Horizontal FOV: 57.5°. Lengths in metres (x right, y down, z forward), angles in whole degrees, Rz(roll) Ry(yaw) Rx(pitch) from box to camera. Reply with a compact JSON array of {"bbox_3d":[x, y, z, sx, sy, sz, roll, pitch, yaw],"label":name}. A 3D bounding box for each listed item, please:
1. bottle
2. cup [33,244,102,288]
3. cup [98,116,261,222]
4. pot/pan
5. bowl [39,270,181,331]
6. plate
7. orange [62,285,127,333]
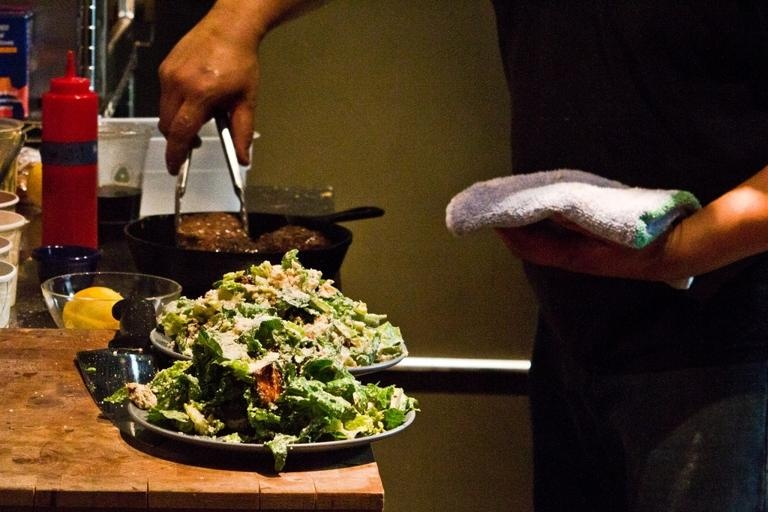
[{"bbox_3d":[-0.606,-0.179,1.342,0.097,0.318,0.082,0,21,-22],"label":"bottle"},{"bbox_3d":[-0.591,0.012,1.306,0.090,0.057,0.086,1,3,0],"label":"cup"},{"bbox_3d":[-0.475,-0.203,1.830,0.447,0.264,0.277,0,3,-7],"label":"cup"},{"bbox_3d":[-0.278,-0.028,1.280,0.314,0.102,0.226,1,3,3],"label":"pot/pan"},{"bbox_3d":[-0.470,0.067,1.198,0.147,0.049,0.142,3,4,0],"label":"bowl"},{"bbox_3d":[-0.163,0.173,0.977,0.394,0.084,0.298,6,17,-5],"label":"plate"},{"bbox_3d":[-0.496,0.085,1.186,0.090,0.060,0.132,0,19,-24],"label":"orange"}]
